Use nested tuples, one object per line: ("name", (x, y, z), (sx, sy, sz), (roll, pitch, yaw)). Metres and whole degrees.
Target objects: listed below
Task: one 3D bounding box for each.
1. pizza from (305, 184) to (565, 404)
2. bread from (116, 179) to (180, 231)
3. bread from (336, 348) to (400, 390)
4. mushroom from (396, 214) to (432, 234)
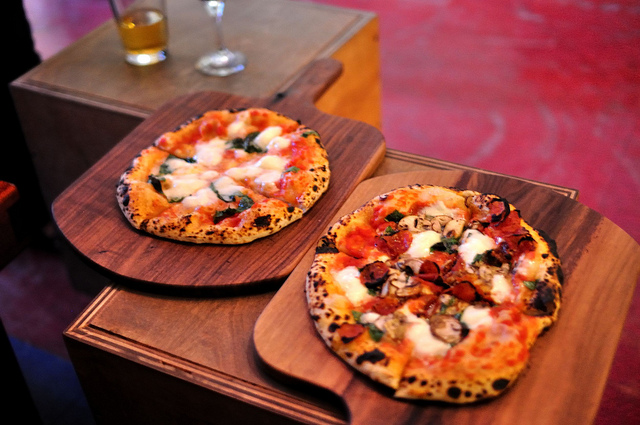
("pizza", (0.231, 0.123, 1.034), (0.457, 0.069, 0.474), (21, 59, 24))
("bread", (-0.377, -0.026, 1.247), (0.135, 0.178, 0.042), (-43, 97, 8))
("bread", (0.092, 0.278, 0.918), (0.089, 0.015, 0.052), (36, 77, 25))
("mushroom", (0.197, 0.024, 1.101), (0.049, 0.014, 0.047), (-35, 48, -16))
